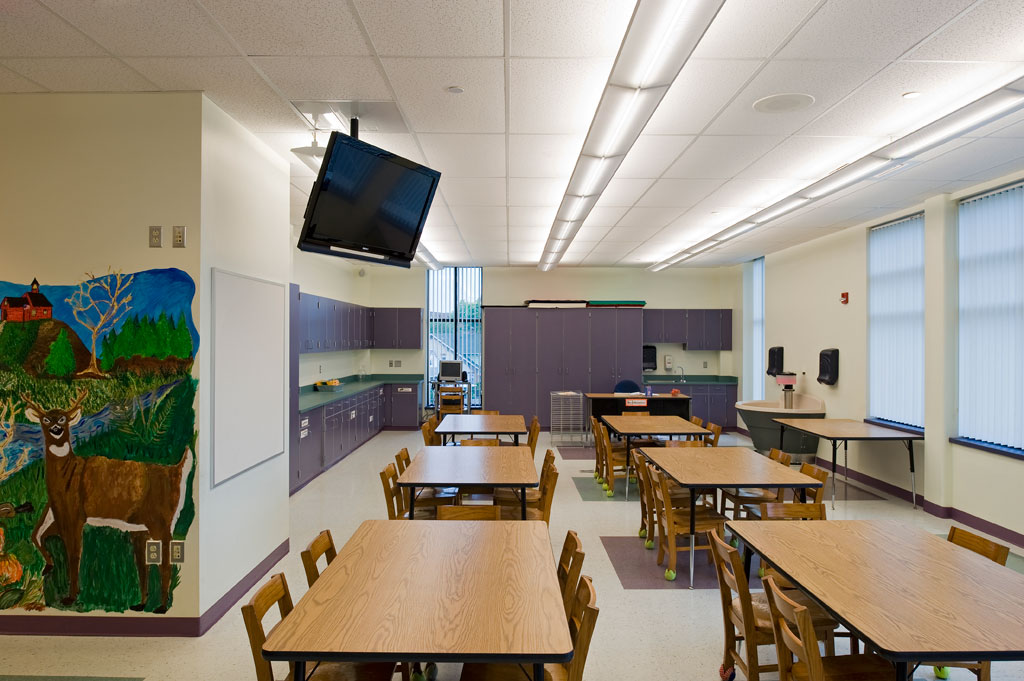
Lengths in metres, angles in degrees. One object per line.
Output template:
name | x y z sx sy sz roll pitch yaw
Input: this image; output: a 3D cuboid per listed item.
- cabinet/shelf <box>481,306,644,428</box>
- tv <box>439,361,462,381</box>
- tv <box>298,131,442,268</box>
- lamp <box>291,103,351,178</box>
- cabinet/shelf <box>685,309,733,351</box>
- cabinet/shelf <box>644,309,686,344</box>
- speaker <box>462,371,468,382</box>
cabinet/shelf | 0.956 0.426 12.406 2.258 2.021 0.789 0 -2 -2
tv | -1.179 0.596 13.111 0.580 0.493 0.318 0 -7 -6
tv | -1.287 -1.325 6.091 0.148 0.861 1.175 29 8 34
lamp | -1.641 -1.802 6.030 0.535 0.522 0.550 -1 -2 40
cabinet/shelf | 3.900 -0.232 13.276 0.795 0.750 0.260 0 0 0
cabinet/shelf | 3.017 -0.299 13.291 0.650 0.544 0.250 0 -1 1
speaker | -0.939 0.715 13.317 0.130 0.221 0.398 1 -1 -13
